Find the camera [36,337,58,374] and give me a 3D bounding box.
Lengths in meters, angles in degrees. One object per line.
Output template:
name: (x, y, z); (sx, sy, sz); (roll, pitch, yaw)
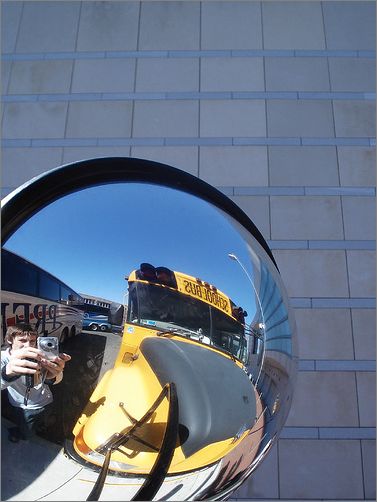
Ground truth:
camera: (-0.213, 0.161, 0.659); (0.042, 0.016, 0.045); (8, 73, -24)
